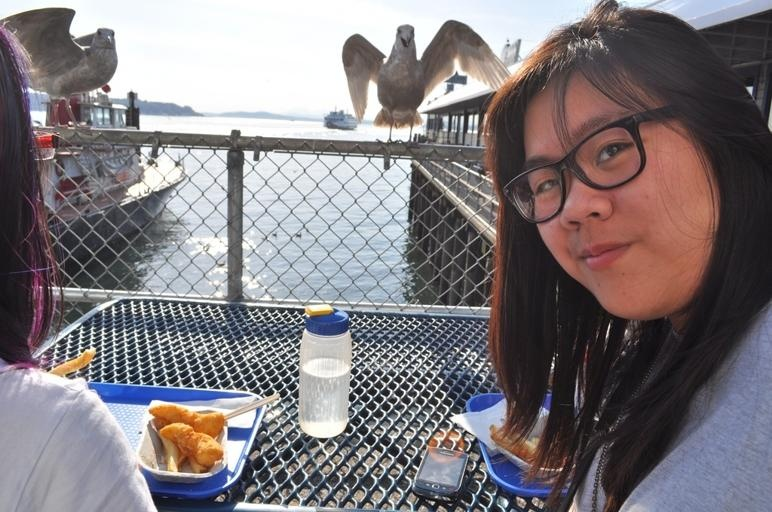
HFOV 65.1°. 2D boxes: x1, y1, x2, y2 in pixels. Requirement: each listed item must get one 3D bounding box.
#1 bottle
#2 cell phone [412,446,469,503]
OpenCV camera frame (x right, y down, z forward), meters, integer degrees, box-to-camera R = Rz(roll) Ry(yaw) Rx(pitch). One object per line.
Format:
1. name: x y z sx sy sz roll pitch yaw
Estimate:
1. bottle: -0.182 0.346 1.832 0.166 0.375 0.154 4 12 -1
2. cell phone: 0.150 0.586 1.646 0.126 0.065 0.159 5 20 16
